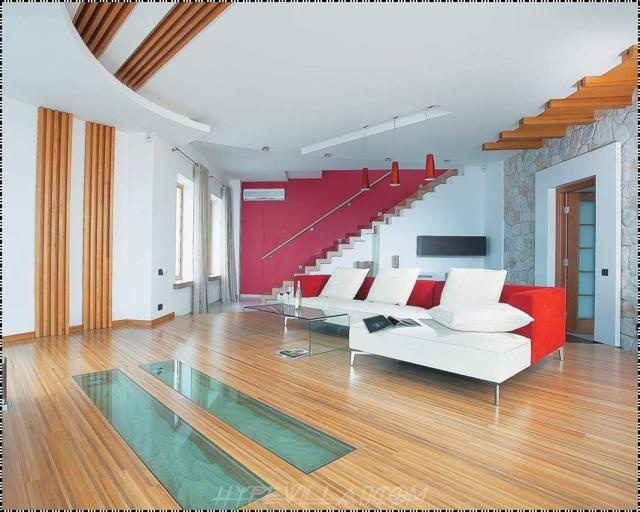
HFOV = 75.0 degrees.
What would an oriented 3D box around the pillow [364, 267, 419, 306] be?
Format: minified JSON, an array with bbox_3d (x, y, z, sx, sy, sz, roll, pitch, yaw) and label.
[{"bbox_3d":[0.996,0.356,5.665,0.160,0.523,0.578,36,-18,-31],"label":"pillow"}]

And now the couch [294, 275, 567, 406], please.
[{"bbox_3d":[0.766,0.667,5.181,3.674,0.865,1.908,5,6,44],"label":"couch"}]
